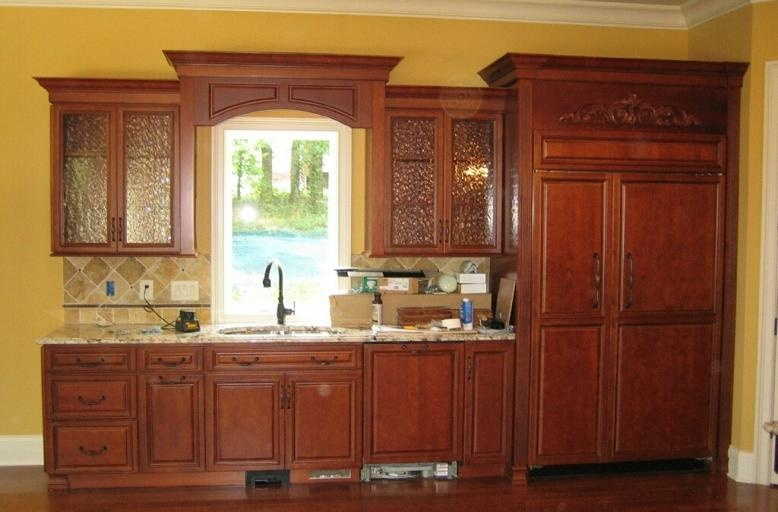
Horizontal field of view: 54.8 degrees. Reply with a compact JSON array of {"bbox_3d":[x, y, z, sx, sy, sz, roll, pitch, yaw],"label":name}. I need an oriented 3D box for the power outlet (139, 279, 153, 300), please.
[{"bbox_3d":[-2.288,0.330,7.070,0.136,0.130,0.023,-2,-1,1],"label":"power outlet"}]
